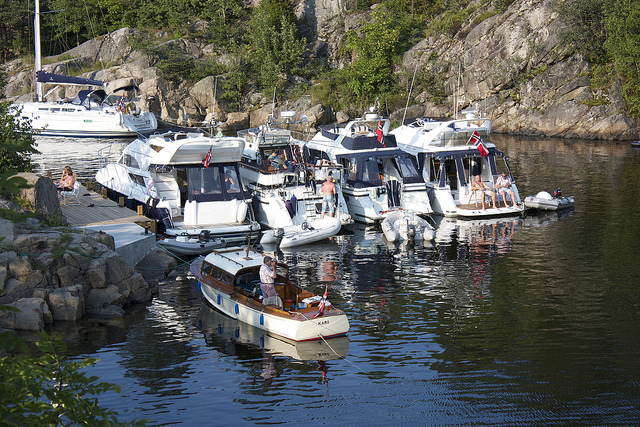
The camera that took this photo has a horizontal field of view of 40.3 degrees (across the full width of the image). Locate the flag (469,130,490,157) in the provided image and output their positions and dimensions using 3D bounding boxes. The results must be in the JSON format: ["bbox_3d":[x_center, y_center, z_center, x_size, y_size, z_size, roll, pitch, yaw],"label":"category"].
[{"bbox_3d":[9.023,-3.915,49.238,0.899,1.778,0.146,-28,-13,11],"label":"flag"}]

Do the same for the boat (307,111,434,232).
[{"bbox_3d":[2.783,-3.078,50.306,3.610,4.977,10.117,-9,23,-22],"label":"boat"}]

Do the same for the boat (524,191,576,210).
[{"bbox_3d":[12.936,-0.656,48.907,2.648,0.971,0.852,-4,5,0],"label":"boat"}]

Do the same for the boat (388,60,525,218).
[{"bbox_3d":[5.663,-2.654,48.964,4.790,8.385,15.930,3,-3,-24],"label":"boat"}]

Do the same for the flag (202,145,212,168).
[{"bbox_3d":[-5.779,-2.850,44.264,0.566,1.029,0.334,-4,5,-3],"label":"flag"}]

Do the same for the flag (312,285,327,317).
[{"bbox_3d":[-0.053,3.720,35.347,0.575,0.916,0.503,-4,5,0],"label":"flag"}]

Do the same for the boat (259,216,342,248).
[{"bbox_3d":[-0.972,0.987,44.401,3.249,1.048,1.731,-12,15,-18],"label":"boat"}]
